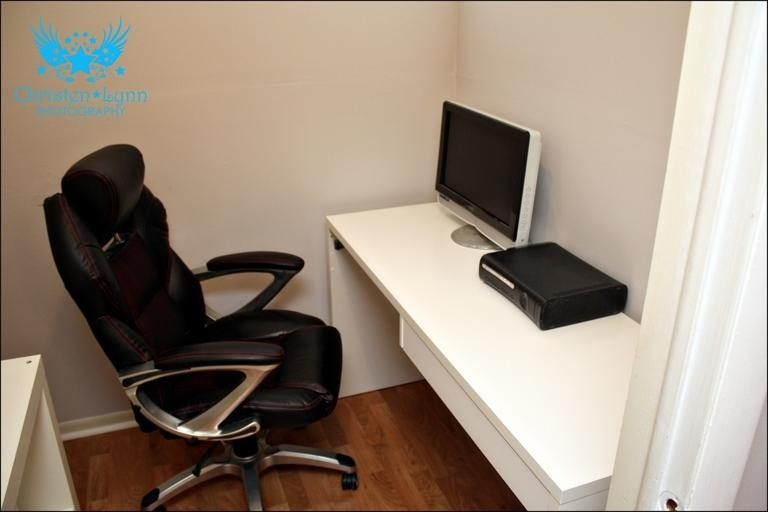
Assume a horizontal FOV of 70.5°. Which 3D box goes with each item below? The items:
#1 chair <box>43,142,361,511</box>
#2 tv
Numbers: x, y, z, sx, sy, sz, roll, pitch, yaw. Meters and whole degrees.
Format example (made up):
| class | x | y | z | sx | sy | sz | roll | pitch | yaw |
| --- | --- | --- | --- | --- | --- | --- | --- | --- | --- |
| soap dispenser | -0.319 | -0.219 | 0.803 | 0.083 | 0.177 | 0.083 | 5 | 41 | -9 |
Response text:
| class | x | y | z | sx | sy | sz | roll | pitch | yaw |
| --- | --- | --- | --- | --- | --- | --- | --- | --- | --- |
| chair | -0.655 | 0.016 | 2.348 | 1.291 | 1.652 | 1.095 | 1 | 24 | -3 |
| tv | 0.384 | -0.292 | 1.953 | 0.146 | 0.369 | 0.492 | -18 | 33 | -19 |
